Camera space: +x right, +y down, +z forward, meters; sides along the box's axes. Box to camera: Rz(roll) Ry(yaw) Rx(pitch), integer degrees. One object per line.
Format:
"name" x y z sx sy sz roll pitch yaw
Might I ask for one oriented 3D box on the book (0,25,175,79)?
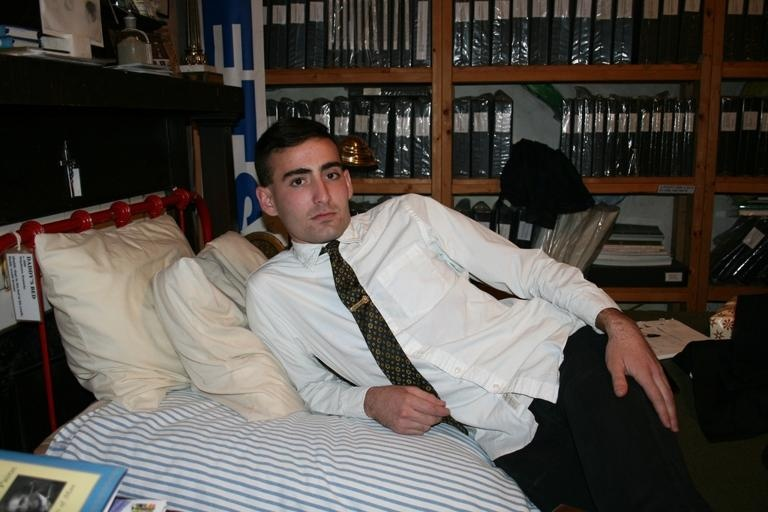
"book" -1.044 -0.751 2.029 0.479 0.162 0.355 1 9 -29

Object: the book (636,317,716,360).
"book" 1.171 0.329 2.274 0.195 0.049 0.198 -11 26 -19

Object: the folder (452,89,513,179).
"folder" 0.570 -0.778 3.511 0.420 0.614 0.458 -1 22 7

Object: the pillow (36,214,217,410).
"pillow" -0.936 0.206 1.950 0.178 0.626 0.609 -16 1 44

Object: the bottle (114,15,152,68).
"bottle" -1.036 -0.895 2.283 0.102 0.210 0.112 3 21 -1
